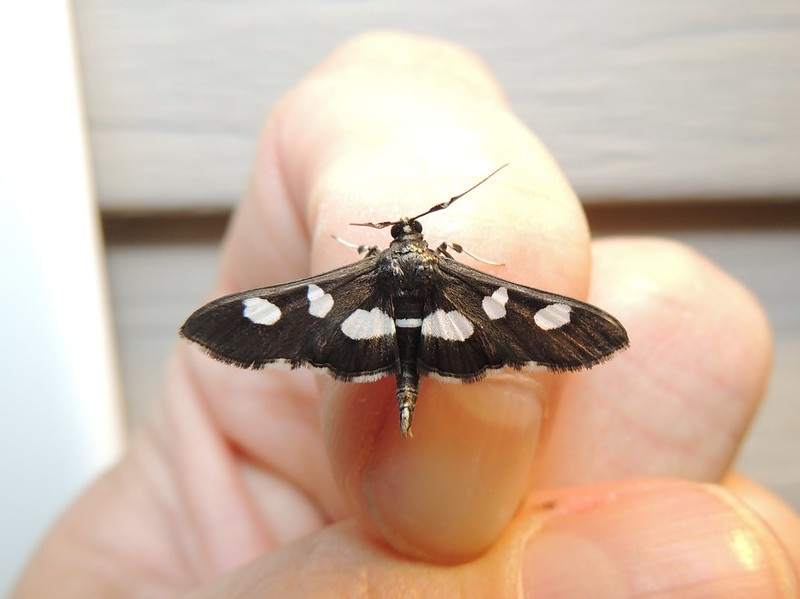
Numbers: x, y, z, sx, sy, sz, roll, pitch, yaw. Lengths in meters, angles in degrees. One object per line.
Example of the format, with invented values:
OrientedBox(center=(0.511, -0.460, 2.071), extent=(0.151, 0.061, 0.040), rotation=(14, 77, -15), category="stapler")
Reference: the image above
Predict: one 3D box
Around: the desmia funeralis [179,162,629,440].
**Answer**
OrientedBox(center=(0.008, -0.012, 1.002), extent=(0.468, 0.296, 0.121), rotation=(0, 20, 1), category="desmia funeralis")
